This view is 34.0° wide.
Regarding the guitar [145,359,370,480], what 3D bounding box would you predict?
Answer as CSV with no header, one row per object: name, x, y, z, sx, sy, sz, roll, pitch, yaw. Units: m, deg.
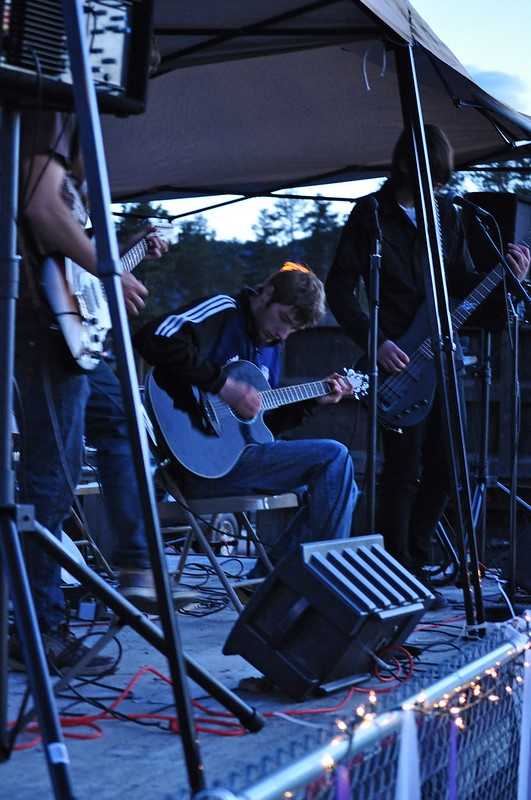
guitar,-0.089,0.035,3.560,0.688,0.126,1.384,27,-9,-39

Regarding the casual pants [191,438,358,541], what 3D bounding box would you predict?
casual pants,0.106,0.337,3.051,0.421,0.421,0.451,-3,7,33

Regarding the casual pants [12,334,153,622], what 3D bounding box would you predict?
casual pants,-0.495,0.203,2.338,0.320,0.752,0.382,-2,9,-16

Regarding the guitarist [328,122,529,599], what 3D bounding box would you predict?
guitarist,0.590,-0.232,3.255,0.770,1.874,0.214,4,-2,-29

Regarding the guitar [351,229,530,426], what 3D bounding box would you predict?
guitar,0.753,-0.259,3.301,0.950,0.280,0.109,-44,20,-16
